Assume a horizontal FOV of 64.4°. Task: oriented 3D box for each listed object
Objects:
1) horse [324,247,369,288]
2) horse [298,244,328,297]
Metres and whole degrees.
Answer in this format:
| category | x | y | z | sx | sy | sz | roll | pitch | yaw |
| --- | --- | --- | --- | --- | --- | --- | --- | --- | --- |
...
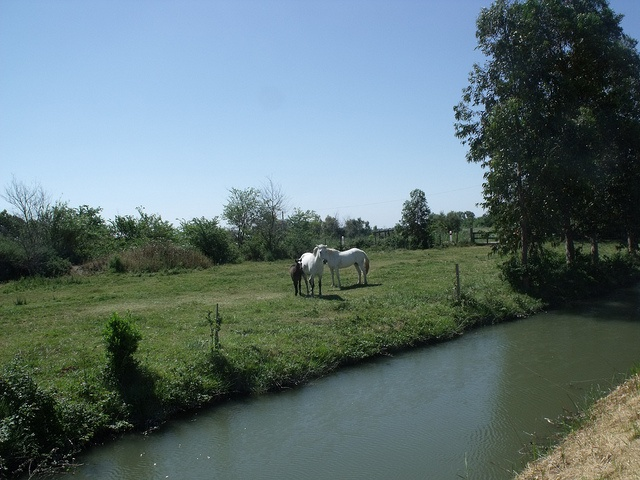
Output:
| category | x | y | z | sx | sy | sz | roll | pitch | yaw |
| --- | --- | --- | --- | --- | --- | --- | --- | --- | --- |
| horse | 1.493 | 1.410 | 27.304 | 1.979 | 2.445 | 3.267 | 1 | 14 | 11 |
| horse | -0.355 | 1.491 | 24.871 | 0.791 | 2.372 | 3.322 | -2 | -3 | -17 |
